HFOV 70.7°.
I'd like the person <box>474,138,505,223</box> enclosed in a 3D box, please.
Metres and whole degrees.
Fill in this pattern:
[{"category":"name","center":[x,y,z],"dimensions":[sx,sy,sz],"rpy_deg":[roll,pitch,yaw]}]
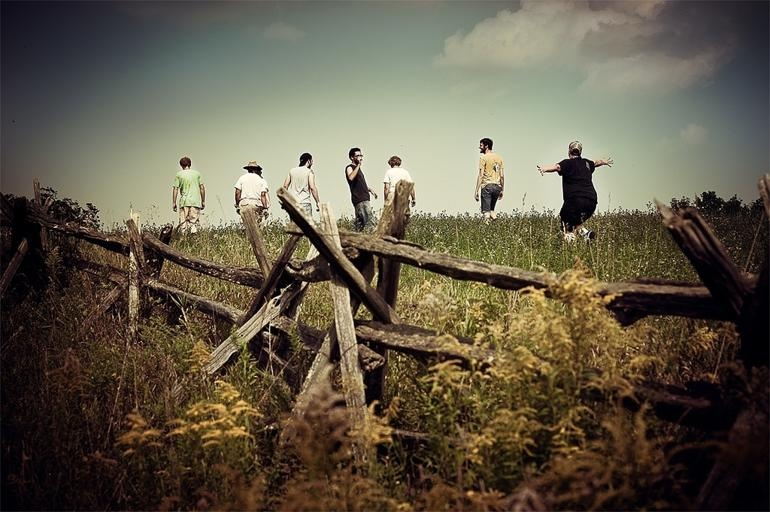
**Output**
[{"category":"person","center":[2.318,-1.726,11.928],"dimensions":[0.551,1.796,0.972],"rpy_deg":[3,3,10]}]

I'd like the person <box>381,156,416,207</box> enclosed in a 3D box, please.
[{"category":"person","center":[0.360,-1.514,12.518],"dimensions":[0.702,1.875,0.438],"rpy_deg":[1,41,6]}]

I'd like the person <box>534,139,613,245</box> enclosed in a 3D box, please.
[{"category":"person","center":[3.018,-0.820,8.561],"dimensions":[1.575,1.536,0.684],"rpy_deg":[2,4,-8]}]

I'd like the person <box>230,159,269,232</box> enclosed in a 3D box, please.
[{"category":"person","center":[-3.121,-1.300,12.676],"dimensions":[0.655,1.869,0.564],"rpy_deg":[6,24,-7]}]

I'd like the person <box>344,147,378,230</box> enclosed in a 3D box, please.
[{"category":"person","center":[-0.533,-1.506,12.206],"dimensions":[0.691,1.815,1.008],"rpy_deg":[3,3,-2]}]
